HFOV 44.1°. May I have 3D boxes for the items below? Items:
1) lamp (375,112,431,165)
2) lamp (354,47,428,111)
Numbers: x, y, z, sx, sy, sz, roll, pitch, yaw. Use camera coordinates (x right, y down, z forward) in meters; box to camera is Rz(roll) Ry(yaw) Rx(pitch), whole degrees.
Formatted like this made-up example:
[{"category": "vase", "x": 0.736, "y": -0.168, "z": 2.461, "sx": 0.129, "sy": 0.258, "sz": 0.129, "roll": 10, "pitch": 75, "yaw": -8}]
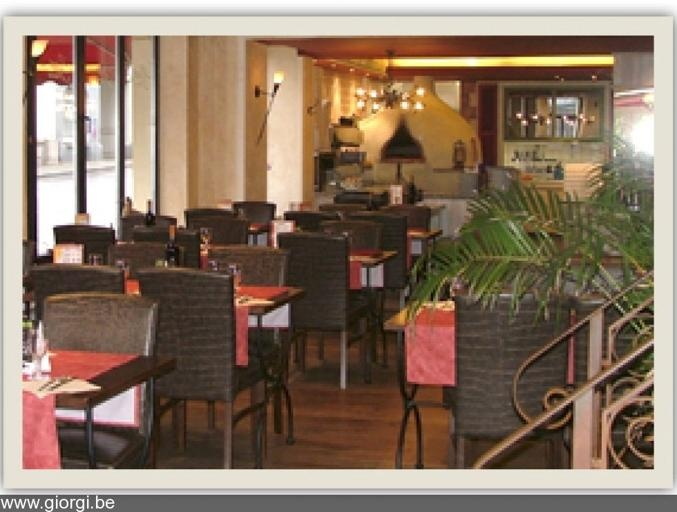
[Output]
[{"category": "lamp", "x": 1.375, "y": -2.410, "z": 17.301, "sx": 1.456, "sy": 1.215, "sz": 0.705, "roll": 0, "pitch": 1, "yaw": 10}, {"category": "lamp", "x": 1.025, "y": -3.237, "z": 16.119, "sx": 1.529, "sy": 0.892, "sz": 1.445, "roll": 3, "pitch": 7, "yaw": -1}]
